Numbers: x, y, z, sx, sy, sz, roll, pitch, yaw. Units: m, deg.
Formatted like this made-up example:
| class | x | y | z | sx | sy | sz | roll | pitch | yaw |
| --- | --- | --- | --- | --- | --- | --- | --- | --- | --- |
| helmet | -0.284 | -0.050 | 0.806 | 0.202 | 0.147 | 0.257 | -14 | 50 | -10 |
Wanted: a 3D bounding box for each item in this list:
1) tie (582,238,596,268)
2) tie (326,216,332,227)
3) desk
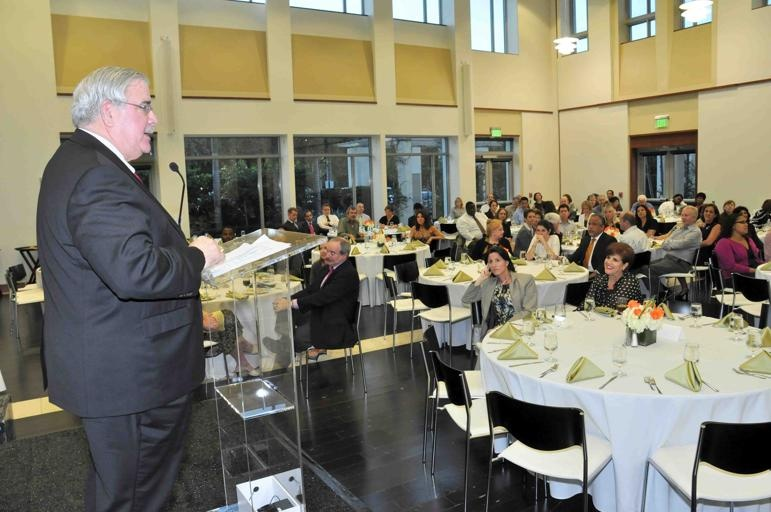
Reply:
| class | x | y | z | sx | sy | sz | roll | pitch | yaw |
| --- | --- | --- | --- | --- | --- | --- | --- | --- | --- |
| tie | 2.995 | -0.005 | 8.419 | 0.106 | 0.374 | 0.272 | 20 | -28 | -16 |
| tie | -1.429 | -0.847 | 14.211 | 0.070 | 0.213 | 0.153 | -13 | -5 | 23 |
| desk | -0.695 | 0.361 | 3.557 | 0.615 | 0.629 | 0.603 | 4 | 11 | 38 |
